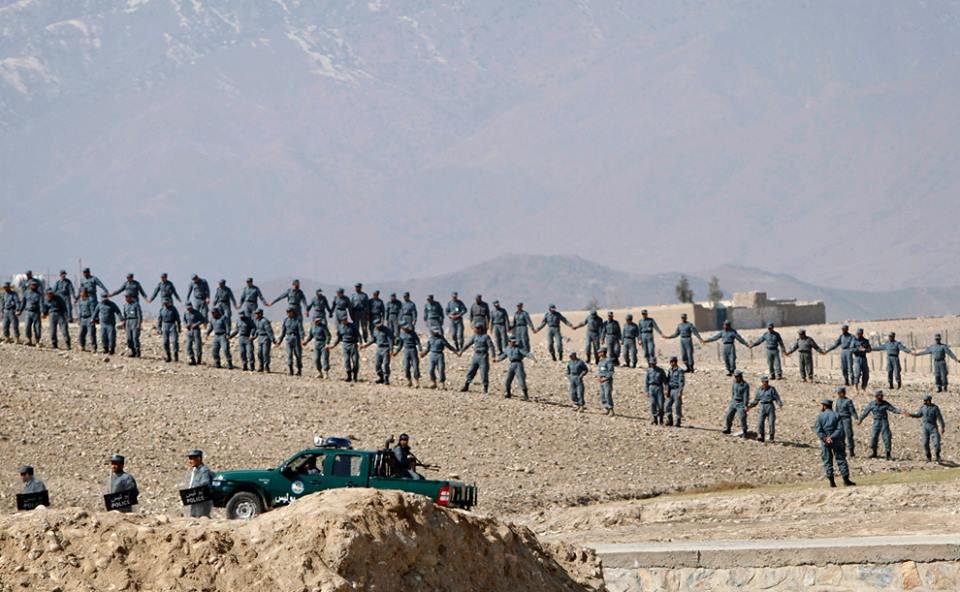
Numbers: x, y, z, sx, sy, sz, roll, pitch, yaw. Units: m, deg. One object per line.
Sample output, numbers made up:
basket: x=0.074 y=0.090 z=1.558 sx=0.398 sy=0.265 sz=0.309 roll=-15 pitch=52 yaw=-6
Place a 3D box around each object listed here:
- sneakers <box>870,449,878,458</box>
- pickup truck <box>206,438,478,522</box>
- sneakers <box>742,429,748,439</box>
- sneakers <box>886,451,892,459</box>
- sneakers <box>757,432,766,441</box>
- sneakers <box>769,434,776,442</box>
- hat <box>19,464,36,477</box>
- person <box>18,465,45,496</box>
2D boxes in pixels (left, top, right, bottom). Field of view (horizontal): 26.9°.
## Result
sneakers: x=14.558 y=5.867 z=74.817 sx=0.267 sy=0.258 sz=0.471 roll=4 pitch=2 yaw=7
pickup truck: x=-4.539 y=6.107 z=67.188 sx=7.670 sy=2.834 sz=3.288 roll=3 pitch=-6 yaw=7
sneakers: x=10.000 y=5.211 z=75.955 sx=0.266 sy=0.238 sz=0.396 roll=0 pitch=-9 yaw=3
sneakers: x=15.196 y=5.922 z=74.610 sx=0.140 sy=0.243 sz=0.314 roll=-5 pitch=-7 yaw=40
sneakers: x=10.618 y=5.321 z=75.919 sx=0.272 sy=0.259 sz=0.275 roll=0 pitch=0 yaw=13
sneakers: x=11.005 y=5.359 z=75.763 sx=0.177 sy=0.287 sz=0.532 roll=-1 pitch=-5 yaw=7
hat: x=-15.038 y=5.823 z=67.040 sx=0.491 sy=0.267 sz=0.674 roll=1 pitch=28 yaw=-9
person: x=-14.812 y=6.131 z=66.559 sx=1.075 sy=1.001 sz=0.630 roll=-8 pitch=-4 yaw=29
